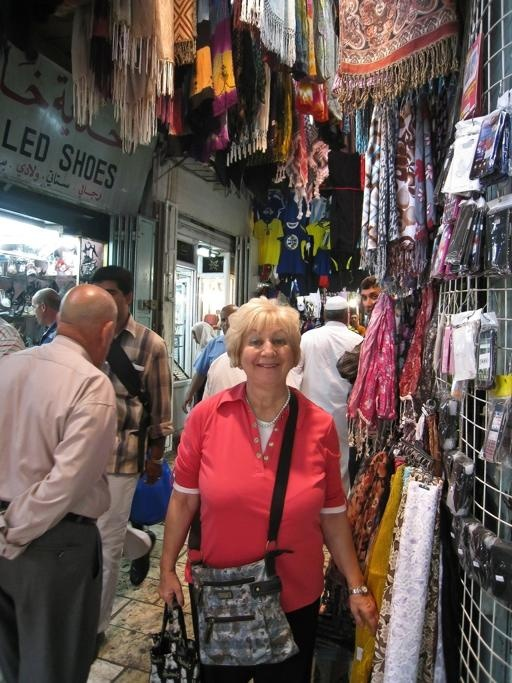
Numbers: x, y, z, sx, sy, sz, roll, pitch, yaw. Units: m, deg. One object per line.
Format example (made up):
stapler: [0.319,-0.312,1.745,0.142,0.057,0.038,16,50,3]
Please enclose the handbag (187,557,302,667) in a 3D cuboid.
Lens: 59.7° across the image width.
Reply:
handbag: [-0.031,0.708,1.174,0.197,0.253,0.126,-17,-13,-5]
